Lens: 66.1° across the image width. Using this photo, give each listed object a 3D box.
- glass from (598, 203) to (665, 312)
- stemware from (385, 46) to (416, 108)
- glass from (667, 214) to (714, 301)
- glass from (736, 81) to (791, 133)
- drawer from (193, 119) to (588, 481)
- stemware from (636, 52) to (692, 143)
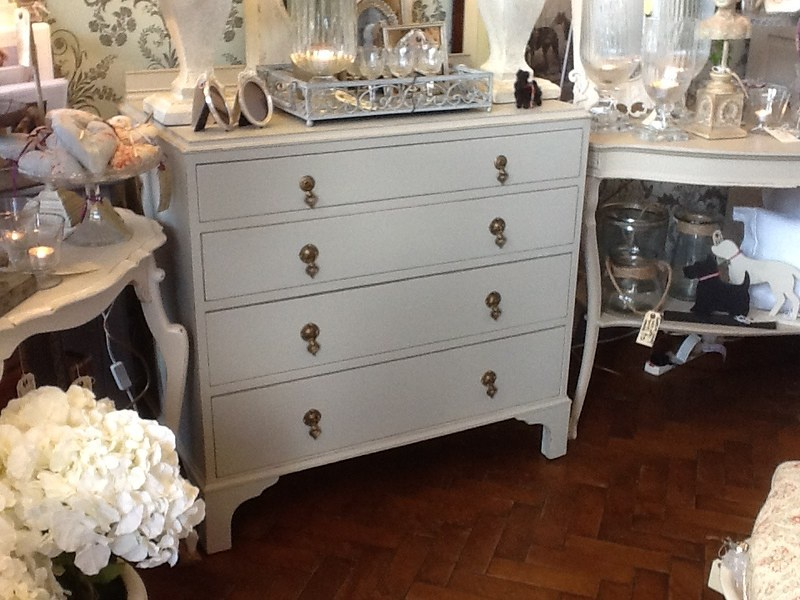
[{"bbox_3d":[1.036,-0.177,2.746,0.308,0.492,0.288,0,17,7],"label":"glass"},{"bbox_3d":[0.003,-0.755,1.969,0.083,0.097,0.086,-7,30,-10],"label":"stemware"},{"bbox_3d":[1.333,-0.213,2.817,0.164,0.405,0.165,3,22,10],"label":"glass"},{"bbox_3d":[1.452,-0.728,2.380,0.128,0.124,0.123,8,13,15],"label":"glass"},{"bbox_3d":[-0.050,-0.030,1.942,0.998,0.907,0.407,-11,30,-21],"label":"drawer"},{"bbox_3d":[1.017,-0.775,2.349,0.173,0.330,0.183,-2,25,6],"label":"stemware"}]
